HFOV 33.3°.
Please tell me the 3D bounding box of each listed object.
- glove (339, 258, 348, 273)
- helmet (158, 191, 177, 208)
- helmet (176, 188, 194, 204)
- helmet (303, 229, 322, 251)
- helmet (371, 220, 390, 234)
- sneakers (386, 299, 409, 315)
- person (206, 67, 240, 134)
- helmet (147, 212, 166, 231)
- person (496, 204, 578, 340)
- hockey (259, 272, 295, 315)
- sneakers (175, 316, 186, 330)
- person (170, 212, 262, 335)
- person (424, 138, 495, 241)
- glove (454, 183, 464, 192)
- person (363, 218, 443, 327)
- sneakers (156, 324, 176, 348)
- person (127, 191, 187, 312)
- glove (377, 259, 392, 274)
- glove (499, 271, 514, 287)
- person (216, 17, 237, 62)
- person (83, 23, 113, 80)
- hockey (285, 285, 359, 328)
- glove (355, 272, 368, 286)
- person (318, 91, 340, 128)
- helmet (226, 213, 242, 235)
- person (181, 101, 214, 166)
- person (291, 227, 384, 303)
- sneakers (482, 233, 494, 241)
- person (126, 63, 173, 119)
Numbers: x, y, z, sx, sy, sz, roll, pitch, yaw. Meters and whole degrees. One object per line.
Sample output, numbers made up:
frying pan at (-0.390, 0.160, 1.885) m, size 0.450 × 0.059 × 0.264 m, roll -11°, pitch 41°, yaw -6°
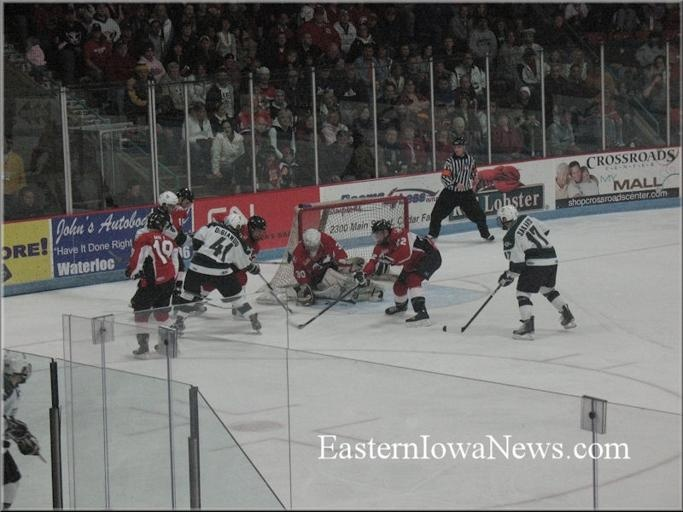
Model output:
glove at (0.032, 0.101, 13.334) m, size 0.130 × 0.133 × 0.135 m, roll -5°, pitch 3°, yaw -17°
helmet at (-2.035, -0.663, 13.197) m, size 0.212 × 0.204 × 0.166 m, roll 8°, pitch 46°, yaw -3°
helmet at (-1.881, -0.751, 13.639) m, size 0.198 × 0.248 × 0.247 m, roll 5°, pitch -10°, yaw -18°
helmet at (-0.367, -0.191, 13.158) m, size 0.187 × 0.239 × 0.243 m, roll -1°, pitch -11°, yaw 8°
helmet at (0.445, -0.323, 12.916) m, size 0.179 × 0.169 × 0.136 m, roll 7°, pitch -7°, yaw -10°
sneakers at (0.643, 0.607, 13.207) m, size 0.348 × 0.233 × 0.114 m, roll -1°, pitch 34°, yaw 4°
person at (-1.630, -2.022, 15.963) m, size 0.527 × 1.255 × 0.374 m, roll -1°, pitch -20°, yaw -16°
helmet at (-2.009, -0.365, 12.328) m, size 0.202 × 0.197 × 0.156 m, roll 4°, pitch 7°, yaw -43°
person at (2.132, 0.167, 12.456) m, size 0.847 × 1.332 × 0.802 m, roll 1°, pitch 14°, yaw 9°
hockey at (-0.685, 0.413, 12.315) m, size 0.648 × 0.050 × 0.078 m, roll 49°, pitch 16°, yaw 27°
sneakers at (-1.289, 0.535, 9.062) m, size 0.090 × 0.088 × 0.155 m, roll 7°, pitch 0°, yaw -20°
person at (-1.297, 0.201, 12.684) m, size 0.919 × 1.375 × 0.797 m, roll 9°, pitch 5°, yaw 1°
person at (1.743, -0.990, 16.905) m, size 0.983 × 1.558 × 0.672 m, roll -2°, pitch 14°, yaw -2°
glove at (1.724, -1.000, 16.658) m, size 0.087 × 0.116 × 0.041 m, roll -2°, pitch 26°, yaw 4°
person at (0.684, 0.166, 12.955) m, size 0.847 × 1.138 × 0.656 m, roll 0°, pitch 14°, yaw 5°
sneakers at (-1.356, 0.622, 8.743) m, size 0.175 × 0.171 × 0.096 m, roll 0°, pitch -1°, yaw 22°
person at (-1.980, 0.037, 12.353) m, size 0.675 × 1.353 × 0.479 m, roll -3°, pitch 33°, yaw -26°
glove at (0.473, 0.116, 13.244) m, size 0.129 × 0.073 × 0.178 m, roll 4°, pitch -31°, yaw -17°
glove at (1.795, 0.248, 12.442) m, size 0.137 × 0.072 × 0.168 m, roll 20°, pitch -20°, yaw -19°
person at (-1.802, -3.215, 17.582) m, size 0.389 × 0.831 × 0.232 m, roll -6°, pitch 11°, yaw -26°
person at (-3.527, -2.940, 16.418) m, size 0.409 × 0.776 × 0.281 m, roll -4°, pitch 14°, yaw -12°
hockey at (-0.247, 0.596, 13.340) m, size 0.121 × 0.126 × 1.139 m, roll 34°, pitch 32°, yaw 22°
glove at (0.220, 0.270, 13.214) m, size 0.118 × 0.164 × 0.148 m, roll -3°, pitch 47°, yaw 8°
person at (-0.193, -2.270, 16.881) m, size 0.293 × 0.782 × 0.286 m, roll 2°, pitch 55°, yaw 2°
helmet at (-1.212, -0.380, 12.677) m, size 0.165 × 0.199 × 0.204 m, roll 20°, pitch 49°, yaw 9°
person at (-1.953, -1.686, 15.743) m, size 0.134 × 0.867 × 0.387 m, roll 9°, pitch 17°, yaw 35°
person at (-0.134, 0.199, 13.437) m, size 1.048 × 0.557 × 0.738 m, roll 27°, pitch 56°, yaw 35°
sneakers at (2.172, -0.268, 16.845) m, size 0.180 × 0.075 × 0.079 m, roll -2°, pitch 21°, yaw 23°
person at (-2.631, -2.237, 15.455) m, size 0.685 × 0.740 × 0.557 m, roll 2°, pitch 16°, yaw 17°
